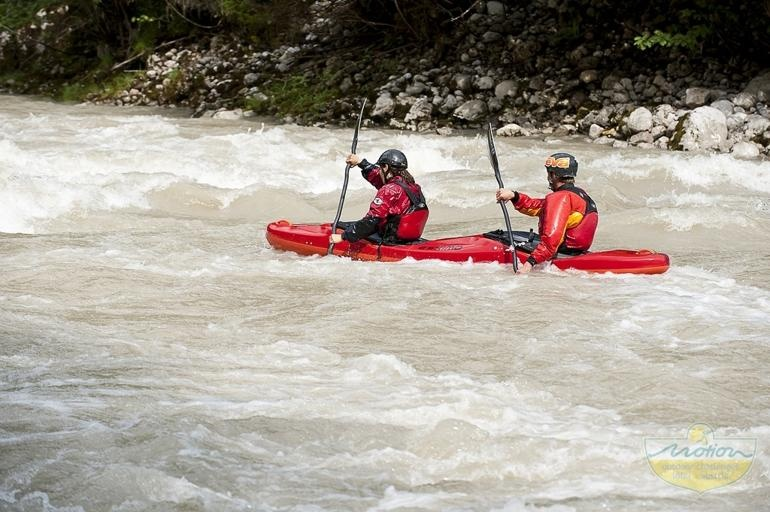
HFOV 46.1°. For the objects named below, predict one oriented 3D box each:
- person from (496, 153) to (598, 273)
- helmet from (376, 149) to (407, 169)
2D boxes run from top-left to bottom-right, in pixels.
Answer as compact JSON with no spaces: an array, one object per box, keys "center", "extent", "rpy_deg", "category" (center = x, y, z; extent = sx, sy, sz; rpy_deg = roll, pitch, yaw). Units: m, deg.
[{"center":[1.931,-0.498,10.280],"extent":[0.836,1.298,0.398],"rpy_deg":[-4,13,-19],"category":"person"},{"center":[0.071,-1.164,10.900],"extent":[0.388,0.139,0.257],"rpy_deg":[14,11,29],"category":"helmet"}]
